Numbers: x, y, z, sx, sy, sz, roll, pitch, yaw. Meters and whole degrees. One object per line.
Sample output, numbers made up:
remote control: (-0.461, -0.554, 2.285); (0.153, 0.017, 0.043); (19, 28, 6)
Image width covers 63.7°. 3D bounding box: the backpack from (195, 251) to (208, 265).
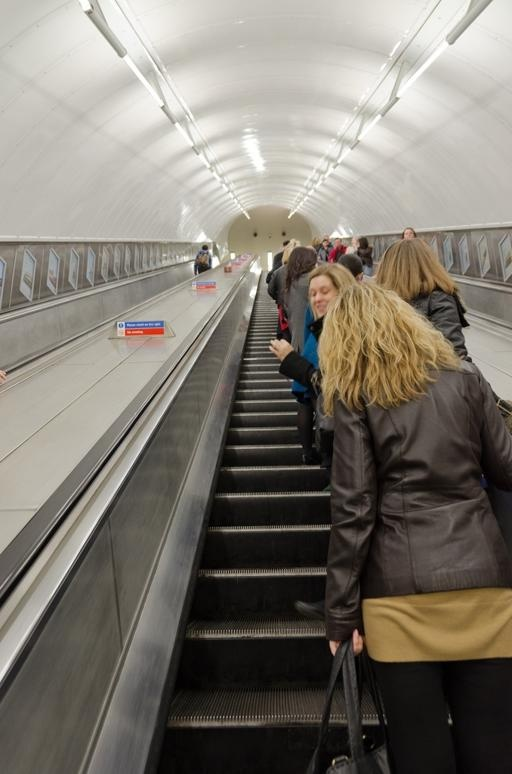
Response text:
backpack: (-2.172, -5.394, 16.846); (0.468, 0.726, 0.268); (-2, -27, 6)
